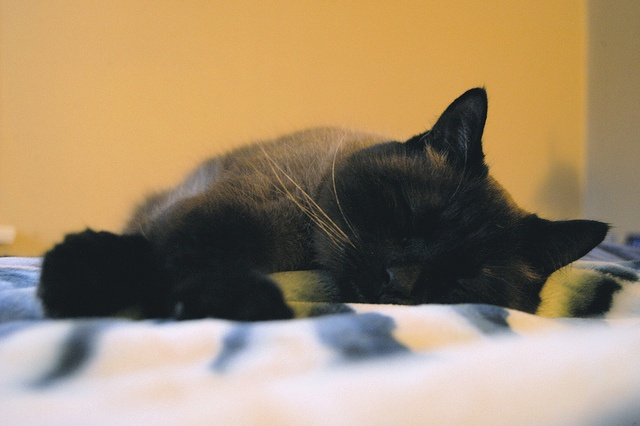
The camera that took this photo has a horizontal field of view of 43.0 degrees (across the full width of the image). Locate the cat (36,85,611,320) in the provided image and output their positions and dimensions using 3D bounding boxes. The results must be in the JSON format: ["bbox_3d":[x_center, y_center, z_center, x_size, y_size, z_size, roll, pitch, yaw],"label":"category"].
[{"bbox_3d":[0.002,0.075,1.786,0.950,0.415,0.578,1,-35,40],"label":"cat"}]
